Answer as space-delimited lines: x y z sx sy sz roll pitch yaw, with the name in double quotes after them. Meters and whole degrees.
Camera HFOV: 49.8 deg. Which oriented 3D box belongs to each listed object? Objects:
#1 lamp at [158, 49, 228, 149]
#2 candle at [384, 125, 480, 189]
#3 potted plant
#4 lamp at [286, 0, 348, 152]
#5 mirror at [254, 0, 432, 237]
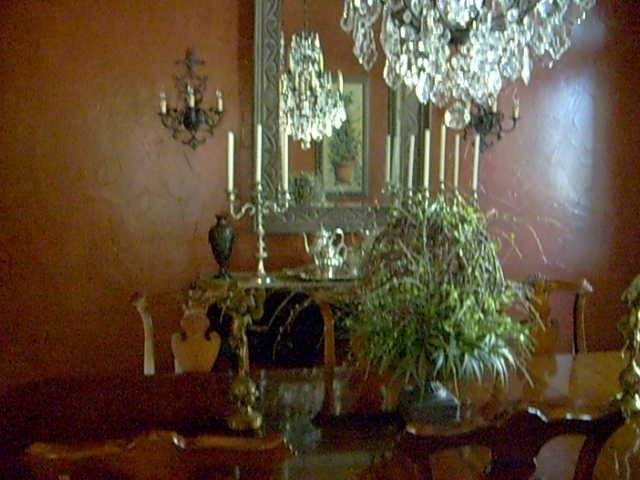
-0.727 -0.807 3.920 0.360 0.633 0.103 -7 50 -14 "lamp"
0.600 -0.463 3.853 0.369 0.309 0.030 -1 7 -23 "candle"
0.445 0.195 2.636 0.693 0.628 0.754 -1 48 1 "potted plant"
-0.039 -0.935 3.919 0.382 0.830 0.130 0 4 -7 "lamp"
0.070 -0.674 3.724 0.943 1.767 0.067 -1 5 -12 "mirror"
